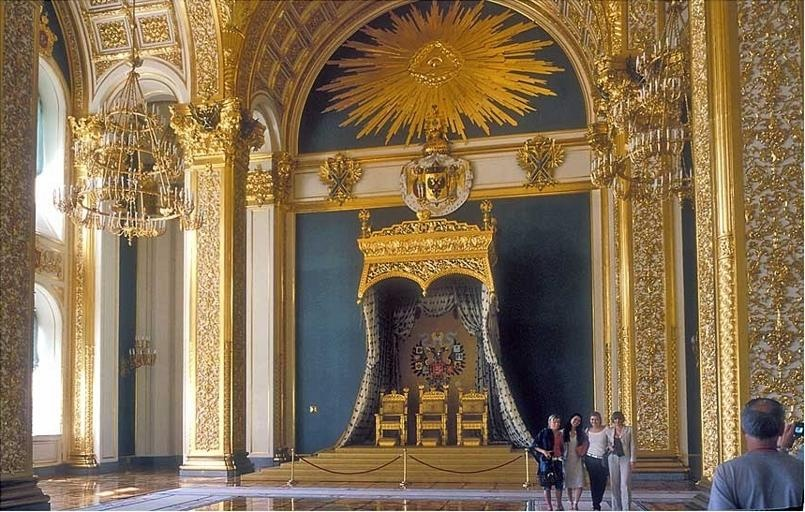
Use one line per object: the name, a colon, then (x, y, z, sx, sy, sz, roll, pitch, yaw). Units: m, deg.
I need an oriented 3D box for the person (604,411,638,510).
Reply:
person: (3.736, 3.513, 24.066, 0.465, 1.698, 0.540, -5, -20, 8)

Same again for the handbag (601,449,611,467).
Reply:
handbag: (3.478, 3.460, 24.045, 0.199, 0.254, 0.071, -1, -3, 15)

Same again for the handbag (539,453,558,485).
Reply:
handbag: (2.537, 3.655, 24.164, 0.428, 0.543, 0.375, 6, -13, -5)

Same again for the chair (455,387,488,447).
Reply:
chair: (1.446, 3.311, 29.032, 0.756, 1.056, 0.626, 0, 6, 9)

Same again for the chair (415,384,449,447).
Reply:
chair: (0.602, 3.339, 29.386, 0.754, 1.060, 0.673, 0, 5, 8)
